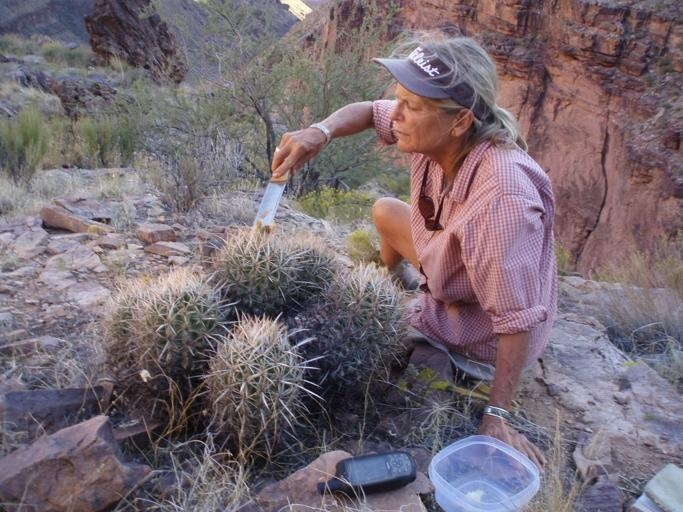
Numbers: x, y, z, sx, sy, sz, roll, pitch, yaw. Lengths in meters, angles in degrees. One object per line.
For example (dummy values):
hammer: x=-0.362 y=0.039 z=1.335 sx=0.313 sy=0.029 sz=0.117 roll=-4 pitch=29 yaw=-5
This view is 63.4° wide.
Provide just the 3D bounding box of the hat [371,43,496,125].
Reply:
hat: x=0.460 y=-0.830 z=2.938 sx=0.510 sy=0.164 sz=0.318 roll=36 pitch=8 yaw=-25

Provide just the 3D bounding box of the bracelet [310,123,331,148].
bracelet: x=-0.126 y=-0.753 z=3.479 sx=0.034 sy=0.134 sz=0.129 roll=-31 pitch=32 yaw=-1
